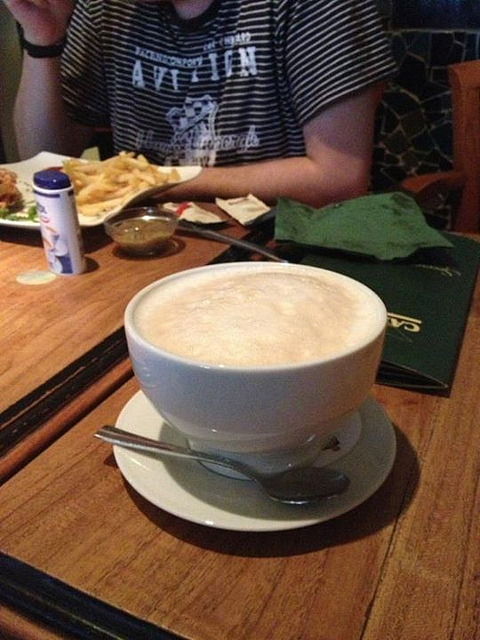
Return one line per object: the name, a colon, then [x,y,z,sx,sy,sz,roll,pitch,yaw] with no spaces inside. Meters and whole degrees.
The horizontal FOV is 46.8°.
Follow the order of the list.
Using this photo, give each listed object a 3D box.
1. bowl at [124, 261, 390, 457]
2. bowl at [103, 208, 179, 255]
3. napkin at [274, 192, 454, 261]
bowl: [0.014,0.032,0.431,0.194,0.100,0.181,0,28,0]
bowl: [-0.173,-0.181,1.037,0.169,0.066,0.154,4,23,-2]
napkin: [0.190,-0.145,0.886,0.202,0.044,0.184,-1,21,4]
